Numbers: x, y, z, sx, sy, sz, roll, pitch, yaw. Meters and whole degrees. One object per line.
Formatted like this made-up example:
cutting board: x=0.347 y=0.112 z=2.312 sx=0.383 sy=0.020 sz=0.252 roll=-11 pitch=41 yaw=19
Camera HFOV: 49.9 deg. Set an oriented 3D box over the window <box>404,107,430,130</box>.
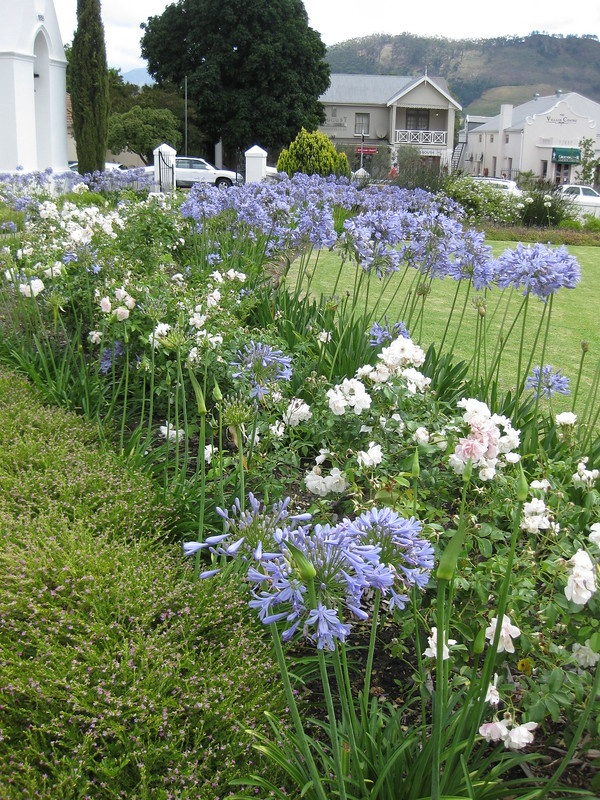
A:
window: x=10.805 y=-26.114 z=59.254 sx=2.015 sy=2.308 sz=0.103 roll=-1 pitch=14 yaw=7
